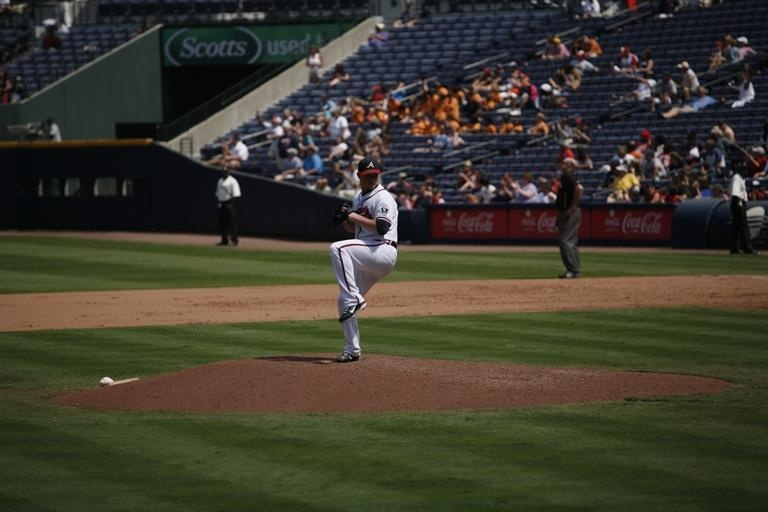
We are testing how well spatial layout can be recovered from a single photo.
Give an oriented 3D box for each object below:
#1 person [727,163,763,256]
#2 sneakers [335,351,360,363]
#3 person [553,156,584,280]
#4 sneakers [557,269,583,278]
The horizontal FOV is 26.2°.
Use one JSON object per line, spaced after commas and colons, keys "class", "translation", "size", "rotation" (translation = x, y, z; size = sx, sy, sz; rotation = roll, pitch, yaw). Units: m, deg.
{"class": "person", "translation": [9.928, -1.205, 45.234], "size": [0.932, 2.423, 1.192], "rotation": [1, -3, 10]}
{"class": "sneakers", "translation": [-0.827, 2.250, 35.502], "size": [0.536, 0.216, 0.199], "rotation": [1, 2, -10]}
{"class": "person", "translation": [4.750, -0.804, 42.496], "size": [0.668, 2.968, 0.931], "rotation": [2, 2, 7]}
{"class": "sneakers", "translation": [4.789, 0.559, 42.700], "size": [0.598, 0.211, 0.205], "rotation": [2, -1, 2]}
